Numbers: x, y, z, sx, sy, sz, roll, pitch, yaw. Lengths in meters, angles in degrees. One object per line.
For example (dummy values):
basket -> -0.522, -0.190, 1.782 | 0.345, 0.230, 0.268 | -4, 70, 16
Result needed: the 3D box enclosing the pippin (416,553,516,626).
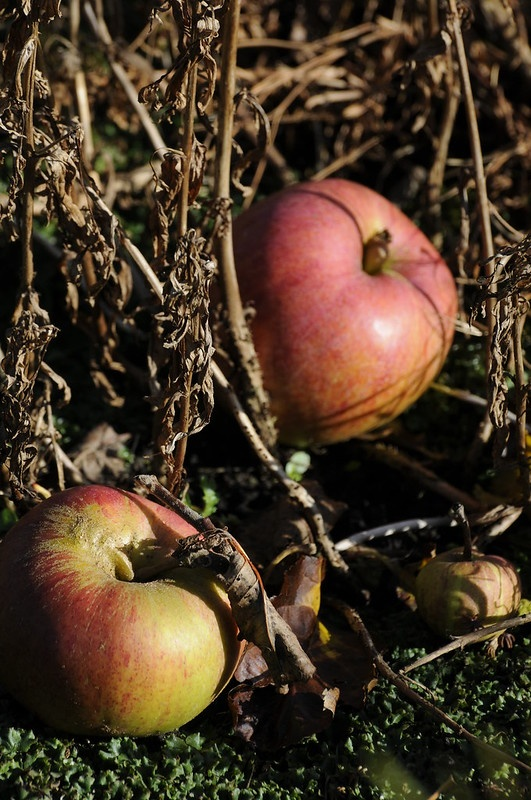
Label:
pippin -> 0.275, 0.261, 1.142 | 0.121, 0.107, 0.113 | -2, 19, 13
